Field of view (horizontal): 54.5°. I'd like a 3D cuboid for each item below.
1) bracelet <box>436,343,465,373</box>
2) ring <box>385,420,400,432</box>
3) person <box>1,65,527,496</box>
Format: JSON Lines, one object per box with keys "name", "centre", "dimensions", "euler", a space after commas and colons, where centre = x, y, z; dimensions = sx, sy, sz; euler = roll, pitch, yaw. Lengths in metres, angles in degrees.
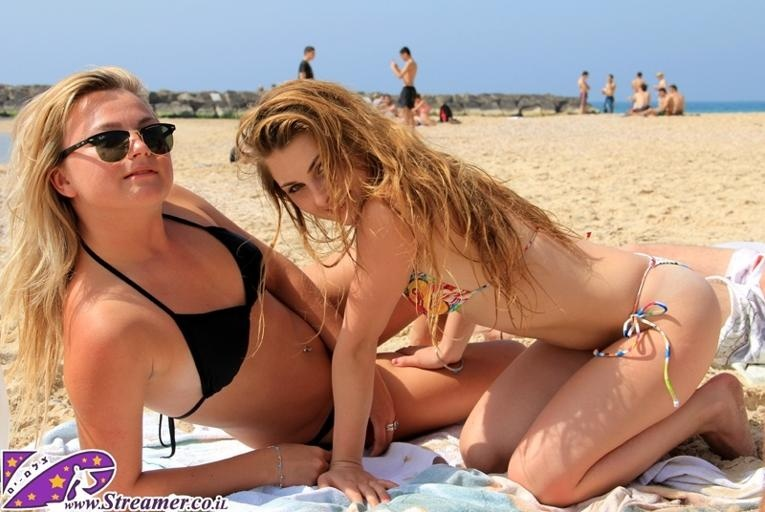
{"name": "bracelet", "centre": [0.366, 0.535, 3.914], "dimensions": [0.118, 0.041, 0.149], "euler": [9, 8, -27]}
{"name": "ring", "centre": [0.051, 0.855, 3.725], "dimensions": [0.067, 0.029, 0.051], "euler": [-12, -16, 40]}
{"name": "person", "centre": [-0.978, 0.111, 3.340], "dimensions": [1.426, 1.873, 0.846], "euler": [-3, 14, -7]}
